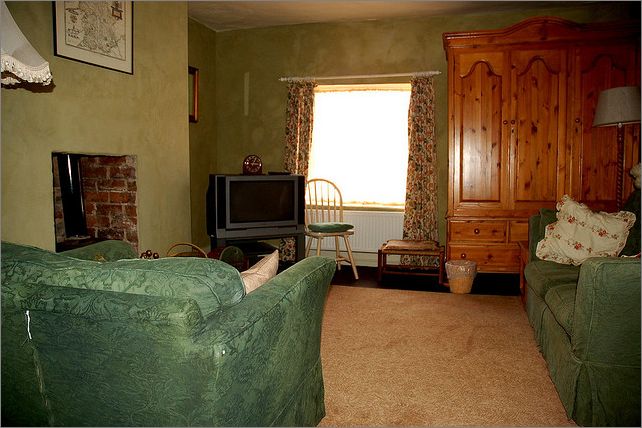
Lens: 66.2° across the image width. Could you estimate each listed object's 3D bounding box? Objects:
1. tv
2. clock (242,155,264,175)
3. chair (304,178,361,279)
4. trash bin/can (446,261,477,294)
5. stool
[{"bbox_3d":[-0.761,-0.108,5.454,1.169,0.798,0.606,2,-2,-25],"label":"tv"},{"bbox_3d":[-0.779,-0.548,5.565,0.205,0.195,0.344,-3,13,-13],"label":"clock"},{"bbox_3d":[0.073,0.154,5.536,0.571,1.149,0.555,-3,6,-5],"label":"chair"},{"bbox_3d":[1.378,0.612,4.808,0.280,0.278,0.304,-1,0,23],"label":"trash bin/can"},{"bbox_3d":[1.019,0.492,5.475,0.697,0.437,0.706,3,13,14],"label":"stool"}]
